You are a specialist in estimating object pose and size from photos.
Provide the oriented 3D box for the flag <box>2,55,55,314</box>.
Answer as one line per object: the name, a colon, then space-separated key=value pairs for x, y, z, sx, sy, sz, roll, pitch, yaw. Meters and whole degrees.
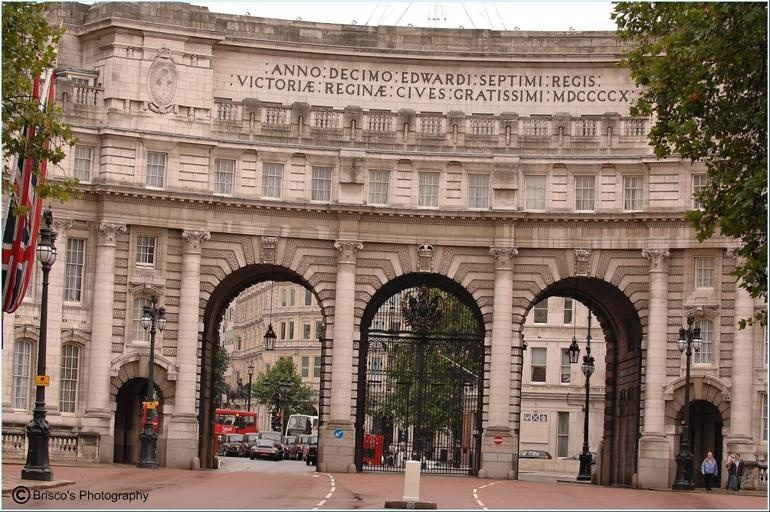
flag: x=-15.119 y=-3.072 z=60.471 sx=2.014 sy=10.737 sz=5.187 roll=-3 pitch=-4 yaw=-7
